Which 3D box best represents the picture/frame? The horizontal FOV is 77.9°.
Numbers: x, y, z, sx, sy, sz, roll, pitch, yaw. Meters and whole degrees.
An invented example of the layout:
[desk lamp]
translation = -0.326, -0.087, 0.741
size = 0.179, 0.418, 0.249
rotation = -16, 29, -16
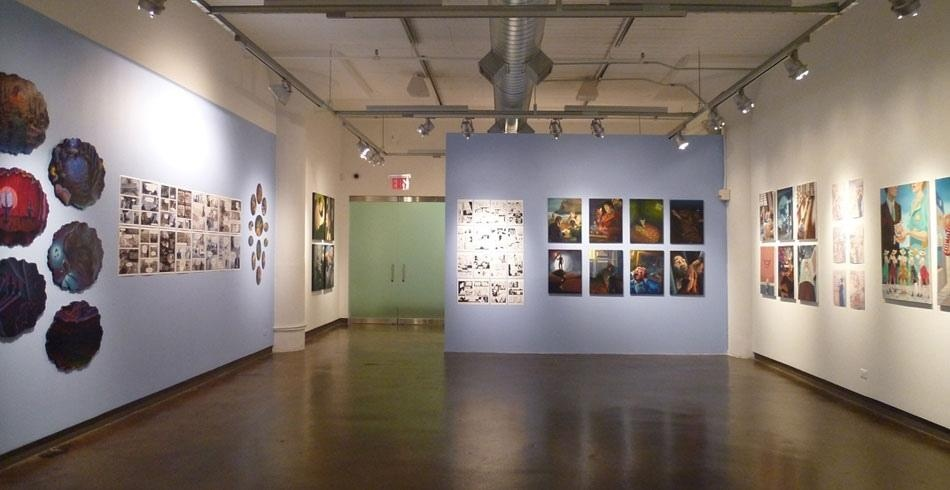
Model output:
[picture/frame]
translation = -6.179, -0.401, 12.176
size = 0.028, 1.393, 2.412
rotation = 2, 0, 25
